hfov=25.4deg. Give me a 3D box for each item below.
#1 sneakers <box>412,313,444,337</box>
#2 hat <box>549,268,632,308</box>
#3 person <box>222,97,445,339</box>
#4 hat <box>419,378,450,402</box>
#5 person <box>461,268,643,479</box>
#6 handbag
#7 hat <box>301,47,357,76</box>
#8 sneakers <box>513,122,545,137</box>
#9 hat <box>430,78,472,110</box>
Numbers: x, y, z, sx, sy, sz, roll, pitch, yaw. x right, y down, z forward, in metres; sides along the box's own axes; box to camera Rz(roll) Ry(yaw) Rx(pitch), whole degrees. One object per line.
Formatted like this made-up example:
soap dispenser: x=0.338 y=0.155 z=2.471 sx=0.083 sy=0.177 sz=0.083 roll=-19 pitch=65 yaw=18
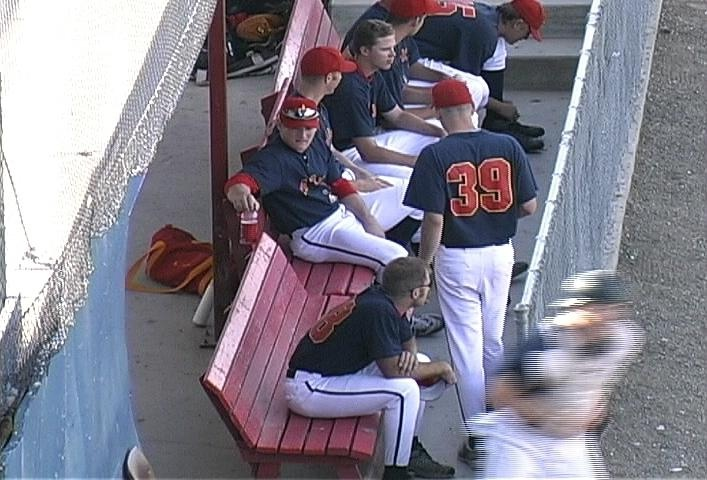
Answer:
sneakers: x=0.503 y=0.585 z=10.938 sx=0.191 sy=0.069 sz=0.184 roll=3 pitch=16 yaw=13
hat: x=1.260 y=0.275 z=8.463 sx=0.300 sy=0.083 sz=0.297 roll=0 pitch=11 yaw=32
person: x=-0.090 y=-0.204 z=10.773 sx=1.447 sy=1.616 sz=1.012 roll=-12 pitch=31 yaw=-8
hat: x=0.475 y=0.954 z=9.999 sx=0.231 sy=0.133 sz=0.185 roll=-6 pitch=2 yaw=-21
person: x=1.086 y=0.793 z=8.212 sx=0.700 sy=0.787 sz=1.153 roll=19 pitch=48 yaw=20
handbag: x=-1.381 y=0.155 z=11.742 sx=0.547 sy=0.187 sz=0.513 roll=13 pitch=49 yaw=12
hat: x=-0.185 y=-1.259 z=10.974 sx=0.453 sy=0.199 sz=0.295 roll=2 pitch=15 yaw=-7
sneakers: x=1.420 y=-0.887 z=12.704 sx=0.295 sy=0.107 sz=0.093 roll=6 pitch=37 yaw=5
hat: x=0.624 y=-0.942 z=10.165 sx=0.175 sy=0.243 sz=0.239 roll=-8 pitch=54 yaw=-2
